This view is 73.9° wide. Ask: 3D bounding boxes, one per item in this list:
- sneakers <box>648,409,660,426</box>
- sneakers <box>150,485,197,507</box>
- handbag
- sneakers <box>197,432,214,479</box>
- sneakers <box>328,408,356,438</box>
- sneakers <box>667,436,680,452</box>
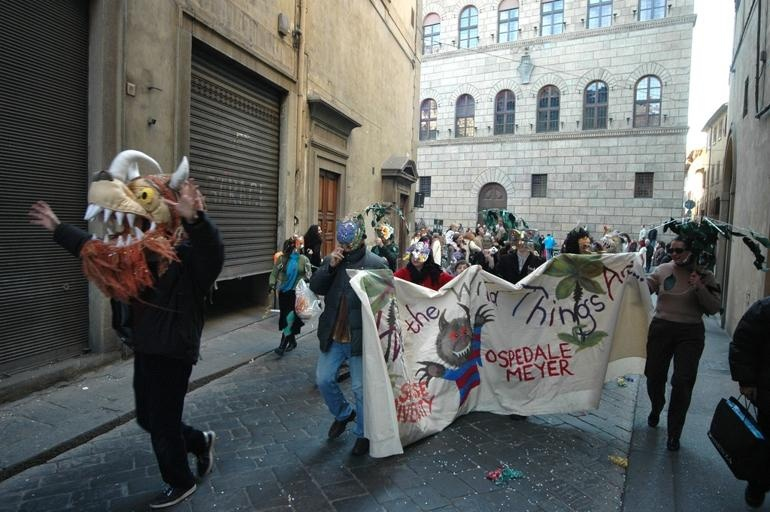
[{"bbox_3d":[3.684,2.232,7.010,0.099,0.197,0.310,3,29,17],"label":"sneakers"},{"bbox_3d":[-2.165,2.479,5.275,0.437,0.182,0.160,-2,11,-41],"label":"sneakers"},{"bbox_3d":[3.699,1.928,5.384,0.362,0.745,0.505,-9,15,-44],"label":"handbag"},{"bbox_3d":[-1.974,2.196,5.690,0.182,0.500,0.176,3,2,-16],"label":"sneakers"},{"bbox_3d":[-0.531,2.119,6.418,0.120,0.367,0.153,28,-14,47],"label":"sneakers"},{"bbox_3d":[3.657,2.377,6.454,0.210,0.143,0.135,0,11,-6],"label":"sneakers"}]
